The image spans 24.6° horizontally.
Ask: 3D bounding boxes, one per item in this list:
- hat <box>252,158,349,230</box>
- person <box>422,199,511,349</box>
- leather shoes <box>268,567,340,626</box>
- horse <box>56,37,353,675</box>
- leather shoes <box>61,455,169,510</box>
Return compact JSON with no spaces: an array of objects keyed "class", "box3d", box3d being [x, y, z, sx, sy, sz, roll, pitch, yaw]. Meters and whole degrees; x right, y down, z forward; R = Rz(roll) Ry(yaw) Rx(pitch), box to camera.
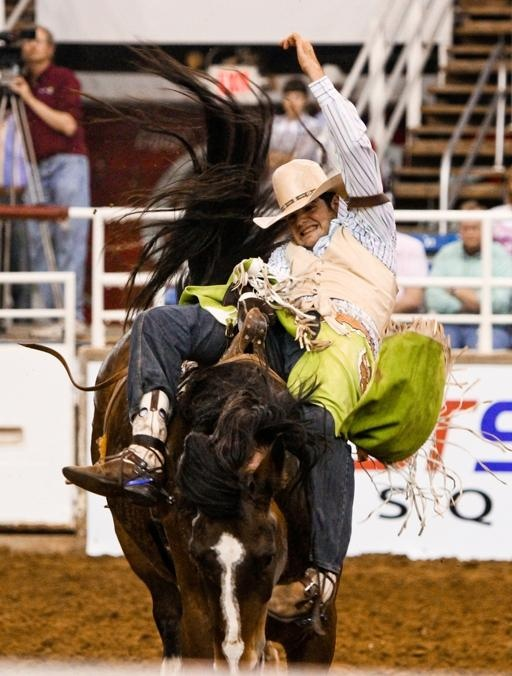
[{"class":"hat","box3d":[0.183,-0.556,4.456,0.263,0.124,0.304,-28,7,35]},{"class":"person","box3d":[1.326,-0.376,7.194,0.480,0.903,0.692,-5,11,-28]},{"class":"leather shoes","box3d":[0.153,0.802,3.597,0.249,0.101,0.135,-9,-36,11]},{"class":"horse","box3d":[-0.174,0.073,4.109,0.902,2.255,2.135,-1,9,-5]},{"class":"leather shoes","box3d":[-0.385,0.424,3.534,0.351,0.143,0.119,14,-22,-11]}]
